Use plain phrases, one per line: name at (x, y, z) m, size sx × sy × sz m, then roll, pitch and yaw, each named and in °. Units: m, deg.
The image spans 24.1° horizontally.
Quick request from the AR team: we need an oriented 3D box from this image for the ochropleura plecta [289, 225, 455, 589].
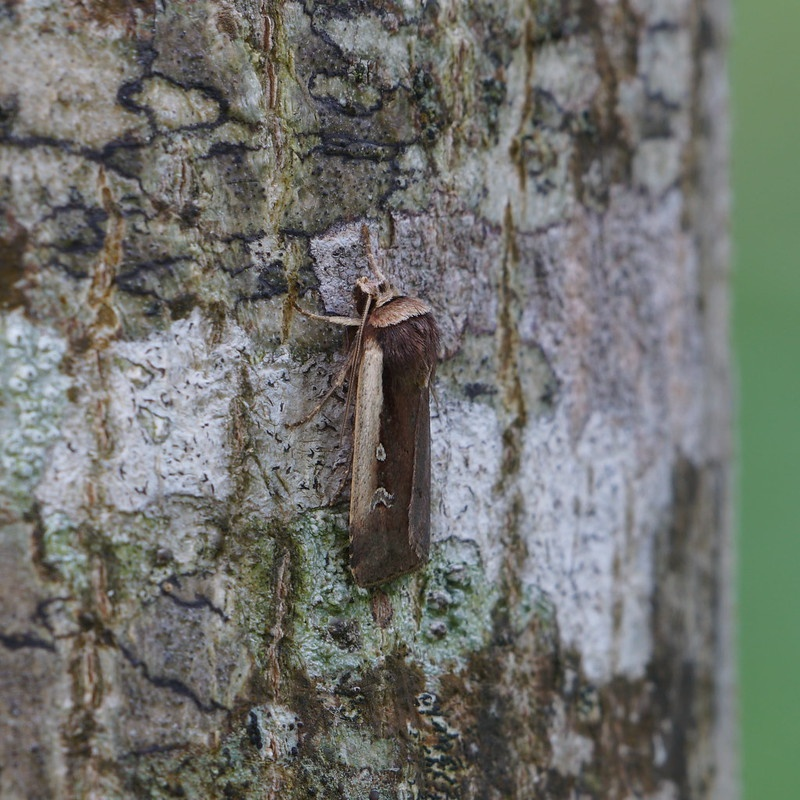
ochropleura plecta at (-0.058, -0.003, 3.912) m, size 0.148 × 0.709 × 0.402 m, roll 4°, pitch 8°, yaw 35°
